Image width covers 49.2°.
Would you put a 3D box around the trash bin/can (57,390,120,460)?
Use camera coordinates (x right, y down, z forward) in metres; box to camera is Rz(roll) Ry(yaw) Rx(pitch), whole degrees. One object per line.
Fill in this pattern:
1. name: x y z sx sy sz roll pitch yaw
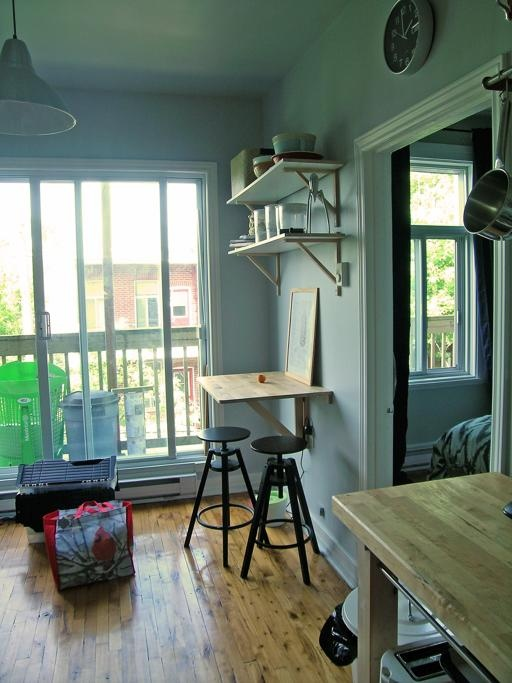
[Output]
1. trash bin/can: -1.111 0.535 3.862 0.397 0.557 0.423 -2 2 -11

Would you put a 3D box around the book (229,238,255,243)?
1. book: -0.065 -0.568 3.131 0.057 0.024 0.077 -4 6 -28

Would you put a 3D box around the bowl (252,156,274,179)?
1. bowl: 0.028 -0.857 2.722 0.134 0.101 0.122 -11 19 -33
